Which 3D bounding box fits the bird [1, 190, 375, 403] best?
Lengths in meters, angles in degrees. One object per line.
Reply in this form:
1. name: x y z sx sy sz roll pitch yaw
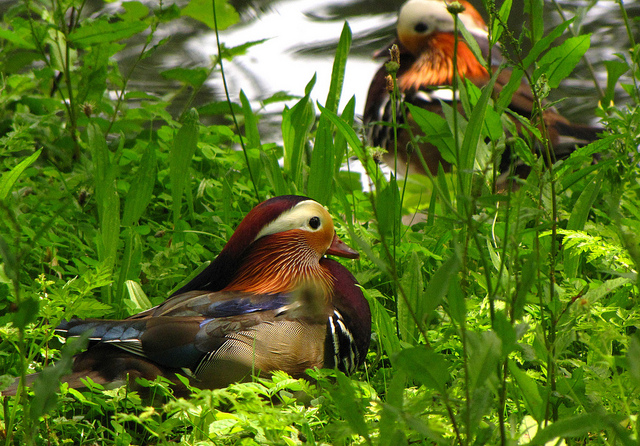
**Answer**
1. bird: -0.253 0.117 1.399 0.630 0.407 0.325 -1 0 -16
